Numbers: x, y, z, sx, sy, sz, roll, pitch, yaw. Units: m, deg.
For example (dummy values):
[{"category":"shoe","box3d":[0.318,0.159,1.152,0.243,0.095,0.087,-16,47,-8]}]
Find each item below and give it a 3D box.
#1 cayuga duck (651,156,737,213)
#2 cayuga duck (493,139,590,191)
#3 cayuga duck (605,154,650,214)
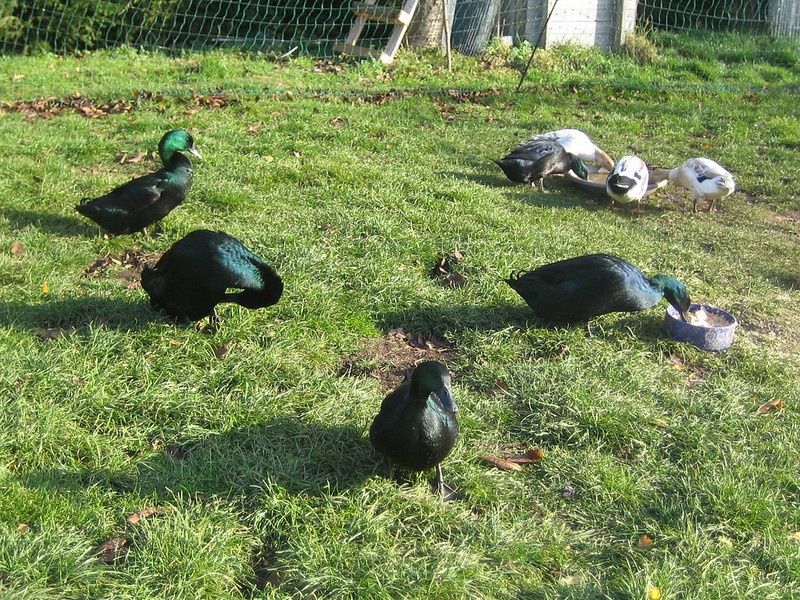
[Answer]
[{"category":"cayuga duck","box3d":[3.597,-1.405,13.847,0.574,0.637,1.201,-11,12,-28]},{"category":"cayuga duck","box3d":[1.693,-1.651,13.978,1.192,0.605,0.575,9,10,-12]},{"category":"cayuga duck","box3d":[2.656,-1.359,13.346,0.348,0.514,0.881,7,30,19]}]
